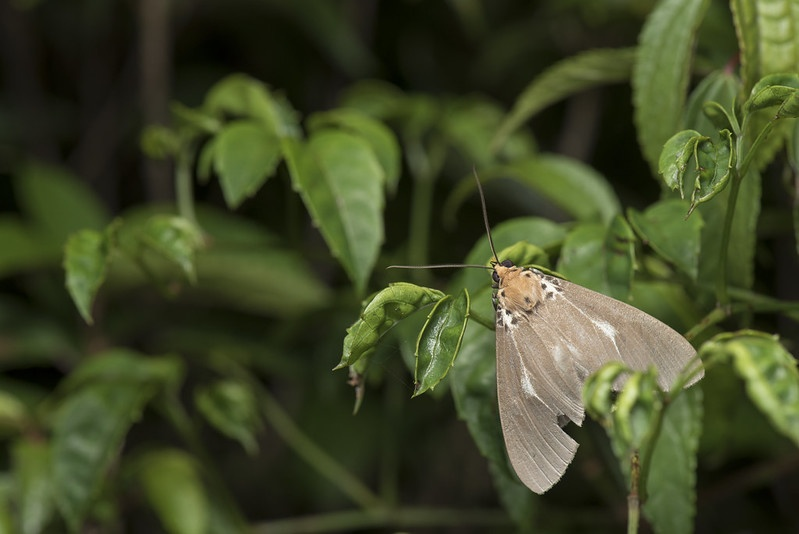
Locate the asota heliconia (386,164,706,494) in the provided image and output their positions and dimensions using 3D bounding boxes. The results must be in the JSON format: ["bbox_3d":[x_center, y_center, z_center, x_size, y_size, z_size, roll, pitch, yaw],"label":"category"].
[{"bbox_3d":[0.266,0.130,1.802,0.404,0.558,0.128,-39,-18,-10],"label":"asota heliconia"}]
